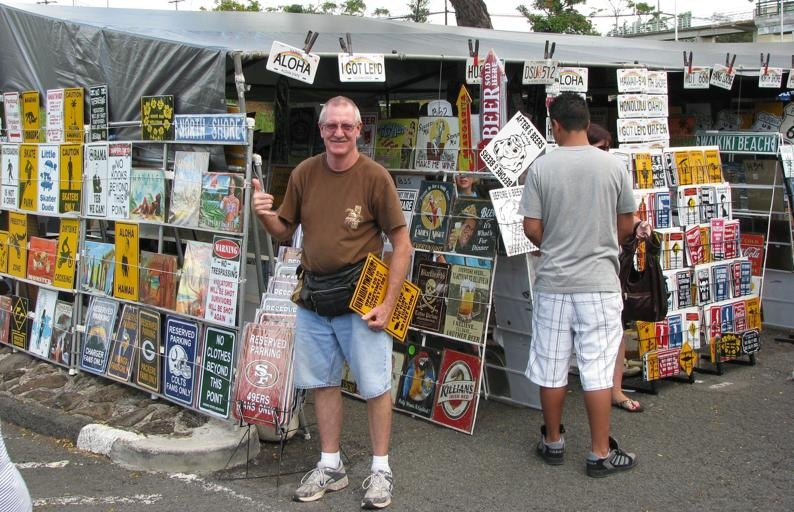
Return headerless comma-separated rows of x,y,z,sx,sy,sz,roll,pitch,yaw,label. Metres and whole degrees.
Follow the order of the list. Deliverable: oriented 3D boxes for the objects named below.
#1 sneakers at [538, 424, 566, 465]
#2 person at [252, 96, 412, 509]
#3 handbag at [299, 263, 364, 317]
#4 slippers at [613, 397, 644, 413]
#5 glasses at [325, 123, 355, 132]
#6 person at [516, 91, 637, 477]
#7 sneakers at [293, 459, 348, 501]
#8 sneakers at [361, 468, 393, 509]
1.385,1.709,5.686,0.168,0.244,0.402,0,9,3,sneakers
-0.459,0.354,5.044,1.014,3.184,0.614,5,12,36,person
-0.545,0.248,4.960,0.545,0.425,0.192,3,11,23,handbag
2.420,1.556,6.558,0.278,0.072,0.139,8,15,43,slippers
-0.442,-0.984,4.788,0.261,0.081,0.088,-3,10,-7,glasses
1.547,0.234,5.368,0.959,3.202,0.576,2,11,20,person
-0.615,1.822,5.066,0.190,0.220,0.488,-2,2,45,sneakers
-0.150,1.840,4.998,0.193,0.151,0.337,0,-1,12,sneakers
